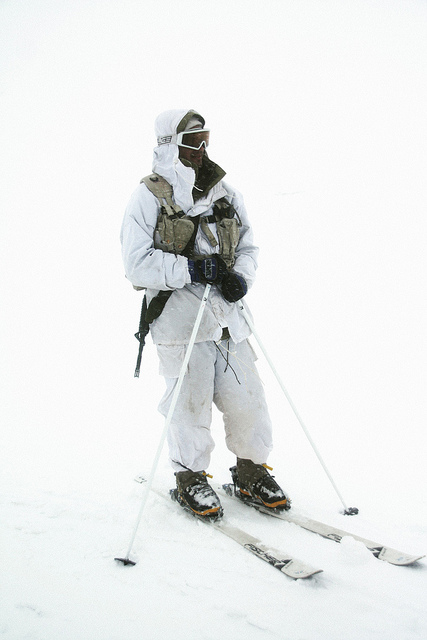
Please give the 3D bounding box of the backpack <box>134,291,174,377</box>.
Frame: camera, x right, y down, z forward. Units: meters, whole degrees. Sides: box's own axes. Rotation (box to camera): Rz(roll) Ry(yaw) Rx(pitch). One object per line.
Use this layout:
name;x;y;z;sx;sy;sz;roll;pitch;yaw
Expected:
backpack;-0.444;0.097;4.562;0.202;0.644;0.097;21;11;21

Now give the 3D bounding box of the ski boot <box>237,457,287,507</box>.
ski boot;0.286;1.031;4.538;0.152;0.274;0.445;-17;26;-42

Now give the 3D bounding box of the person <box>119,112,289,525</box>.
person;-0.095;-0.055;4.469;0.938;2.601;0.906;-4;7;-14

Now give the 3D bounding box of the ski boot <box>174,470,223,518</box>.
ski boot;-0.111;1.090;4.373;0.150;0.174;0.421;-7;10;-23

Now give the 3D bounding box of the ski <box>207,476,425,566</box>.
ski;0.348;1.102;4.434;0.267;0.120;2.368;-13;9;-31
